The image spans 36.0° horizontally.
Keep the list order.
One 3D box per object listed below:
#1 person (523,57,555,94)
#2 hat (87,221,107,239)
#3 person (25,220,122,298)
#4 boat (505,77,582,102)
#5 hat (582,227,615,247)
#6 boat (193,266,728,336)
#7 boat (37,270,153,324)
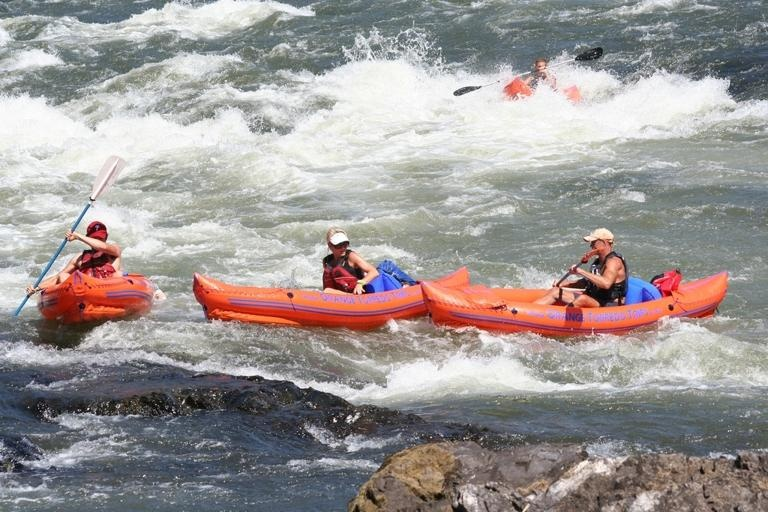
[{"bbox_3d":[3.992,-4.712,30.568,0.899,0.348,1.028,1,30,3],"label":"person"},{"bbox_3d":[-5.204,-0.460,21.514,0.274,0.352,0.342,10,23,43],"label":"hat"},{"bbox_3d":[-5.570,0.091,21.474,1.740,0.866,1.918,-2,17,19],"label":"person"},{"bbox_3d":[3.952,-4.202,29.992,1.585,0.377,0.816,-2,22,-5],"label":"boat"},{"bbox_3d":[3.752,-0.378,20.939,0.692,0.195,0.336,1,-1,1],"label":"hat"},{"bbox_3d":[1.320,0.742,21.121,9.001,1.398,1.045,-3,17,2],"label":"boat"},{"bbox_3d":[-5.066,0.743,20.949,1.328,0.394,1.429,-1,2,17],"label":"boat"}]
